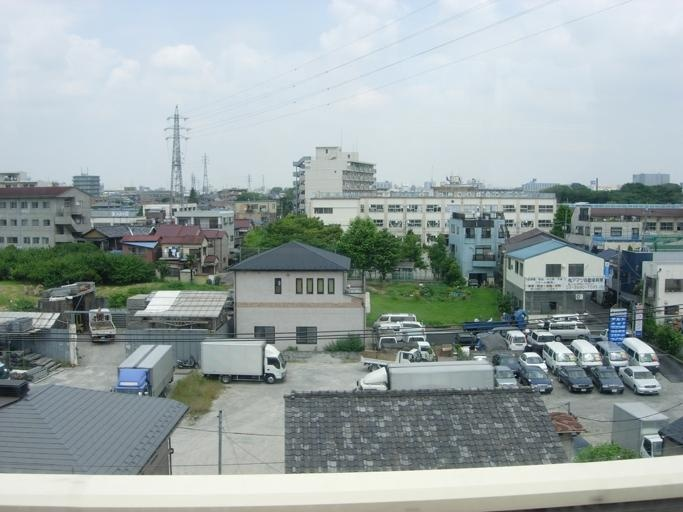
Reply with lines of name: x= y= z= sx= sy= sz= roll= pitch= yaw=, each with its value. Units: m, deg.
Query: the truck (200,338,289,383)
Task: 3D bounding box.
truck: x=-2.309 y=2.461 z=20.307 sx=2.294 sy=1.012 sz=0.836 roll=1 pitch=6 yaw=0
